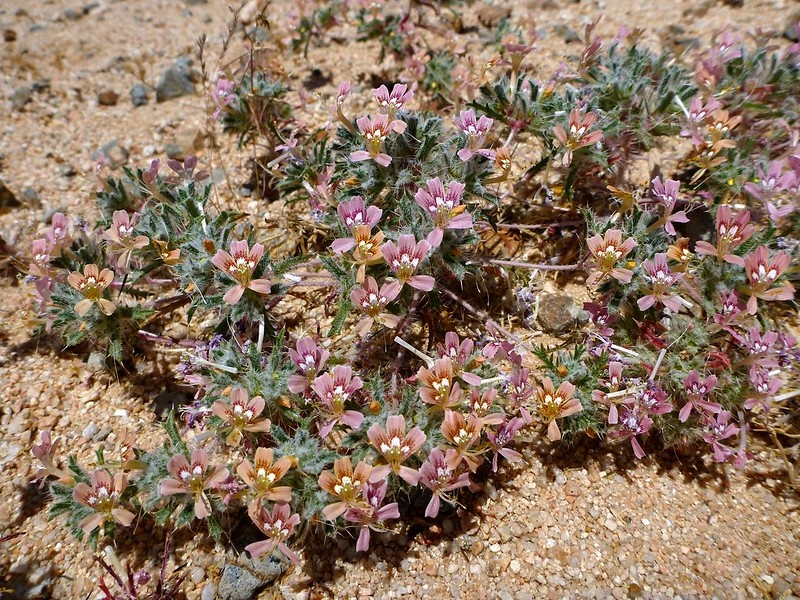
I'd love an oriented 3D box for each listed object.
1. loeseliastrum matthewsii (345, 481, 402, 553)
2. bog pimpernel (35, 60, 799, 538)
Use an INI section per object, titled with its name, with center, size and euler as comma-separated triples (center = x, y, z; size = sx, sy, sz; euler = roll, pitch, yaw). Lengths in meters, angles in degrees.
[loeseliastrum matthewsii]
center = -0.150, 1.135, 4.125
size = 0.343, 0.178, 0.400
euler = 11, 94, -11
[bog pimpernel]
center = 0.247, 0.279, 5.552
size = 2.791, 4.244, 2.241
euler = -2, 11, -4
